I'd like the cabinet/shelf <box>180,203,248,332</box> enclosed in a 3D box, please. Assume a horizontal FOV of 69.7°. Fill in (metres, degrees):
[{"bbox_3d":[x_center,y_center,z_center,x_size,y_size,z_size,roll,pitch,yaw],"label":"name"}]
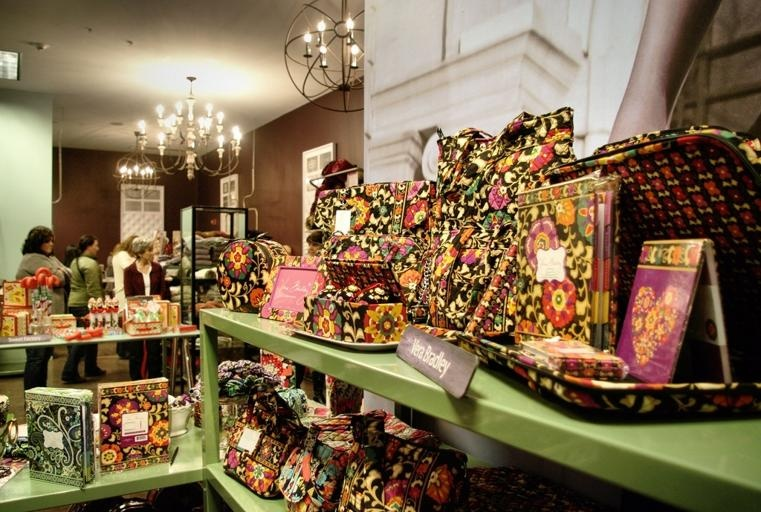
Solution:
[{"bbox_3d":[-1.920,0.185,6.131,0.486,1.481,0.659,0,3,-7],"label":"cabinet/shelf"}]
